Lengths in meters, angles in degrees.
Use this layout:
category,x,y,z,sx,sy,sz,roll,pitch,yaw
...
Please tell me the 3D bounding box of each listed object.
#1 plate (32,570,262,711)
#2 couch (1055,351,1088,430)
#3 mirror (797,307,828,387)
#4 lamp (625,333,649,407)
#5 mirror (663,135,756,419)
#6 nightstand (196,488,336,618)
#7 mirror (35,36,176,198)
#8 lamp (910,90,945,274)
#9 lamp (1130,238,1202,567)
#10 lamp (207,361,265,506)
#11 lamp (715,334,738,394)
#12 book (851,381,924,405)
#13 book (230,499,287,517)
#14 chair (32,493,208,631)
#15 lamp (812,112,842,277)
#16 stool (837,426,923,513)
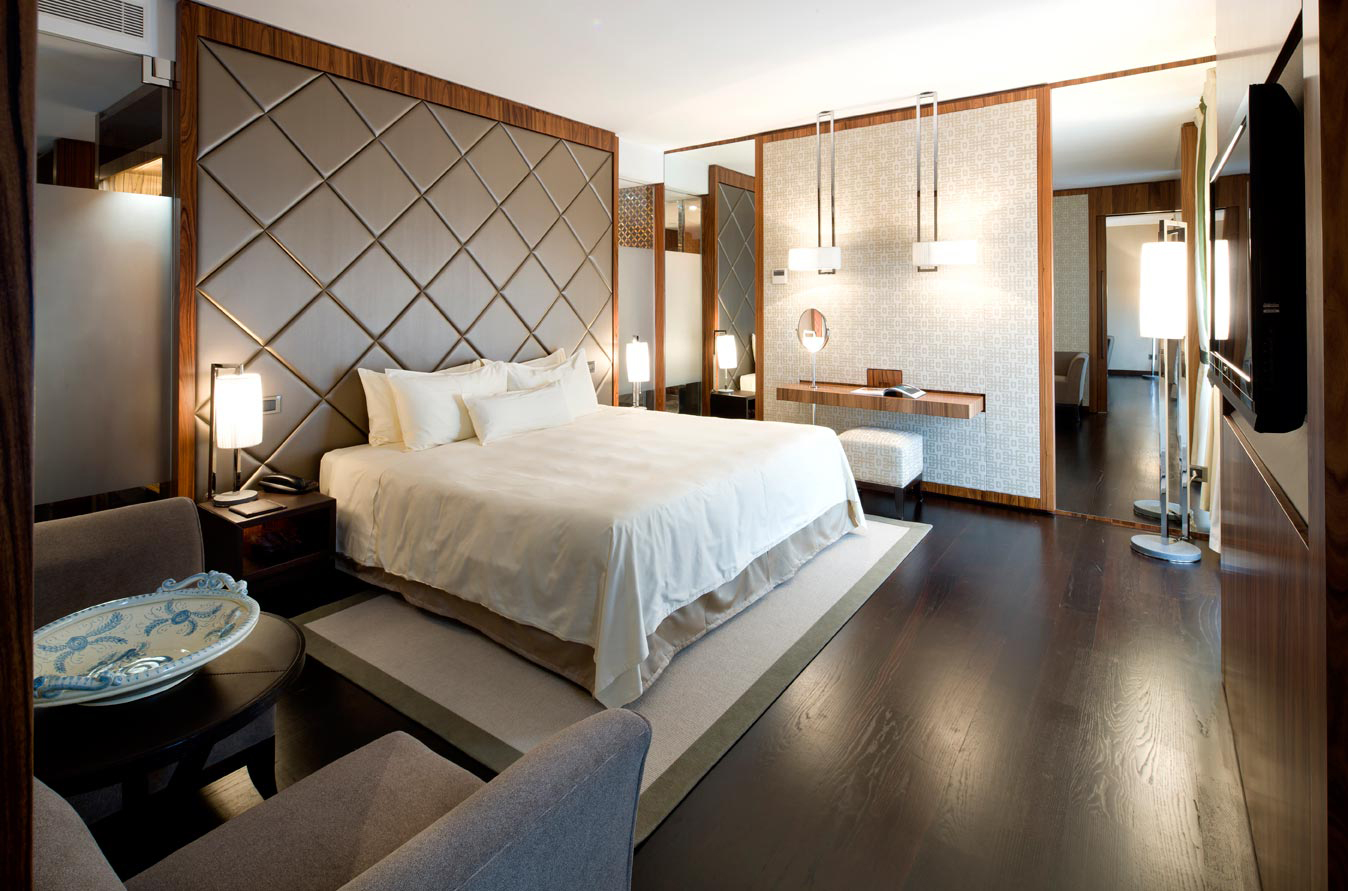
category,x,y,z,sx,sy,sz,roll,pitch,yaw
plate,-1.855,0.662,2.933,0.444,0.166,0.572,16,17,15
couch,4.330,-0.631,9.339,0.345,0.706,1.502,3,11,25
mirror,1.128,-0.800,6.984,0.274,0.580,0.040,5,11,37
lamp,-0.332,-0.606,7.417,0.184,0.599,0.649,-2,10,-4
mirror,0.368,-1.512,8.132,0.856,2.339,1.918,-1,10,2
nightstand,-2.177,0.557,4.798,0.536,0.797,0.775,3,5,25
mirror,-3.000,-1.692,4.534,0.630,0.749,0.193,-8,11,-33
lamp,1.844,-1.864,6.215,0.207,1.235,0.384,1,9,17
lamp,3.109,-0.317,5.362,0.411,1.858,1.026,3,10,29
lamp,-2.451,-0.078,4.763,0.295,0.727,0.408,-6,10,-29
lamp,0.492,-0.805,8.361,0.186,0.585,0.592,0,10,8
book,1.611,-0.391,6.442,0.530,0.060,0.507,2,11,18
book,-2.242,0.331,4.598,0.219,0.038,0.246,8,14,41
chair,-2.297,0.441,3.481,0.512,0.379,0.391,-8,5,-15
lamp,1.192,-1.916,6.675,0.195,1.197,0.344,0,9,9
stool,1.471,0.124,6.136,0.545,0.552,0.561,1,4,23
